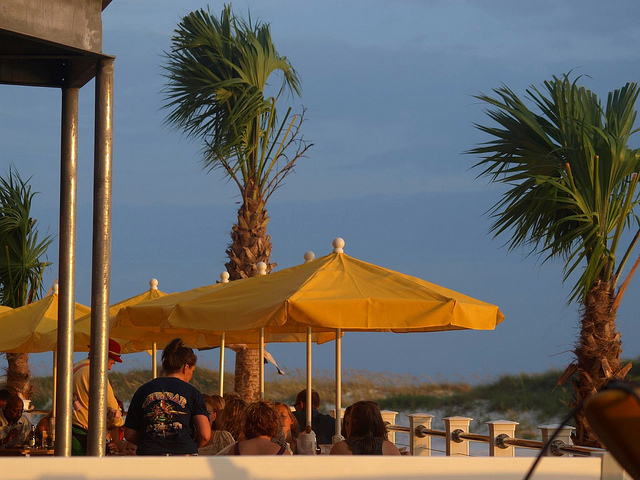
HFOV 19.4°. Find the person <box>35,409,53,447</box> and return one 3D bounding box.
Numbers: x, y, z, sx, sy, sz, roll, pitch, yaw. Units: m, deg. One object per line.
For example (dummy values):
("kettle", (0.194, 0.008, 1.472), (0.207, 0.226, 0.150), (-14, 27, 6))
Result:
("person", (-21.154, 14.357, 145.152), (0.814, 2.667, 0.835), (15, -44, -4))
